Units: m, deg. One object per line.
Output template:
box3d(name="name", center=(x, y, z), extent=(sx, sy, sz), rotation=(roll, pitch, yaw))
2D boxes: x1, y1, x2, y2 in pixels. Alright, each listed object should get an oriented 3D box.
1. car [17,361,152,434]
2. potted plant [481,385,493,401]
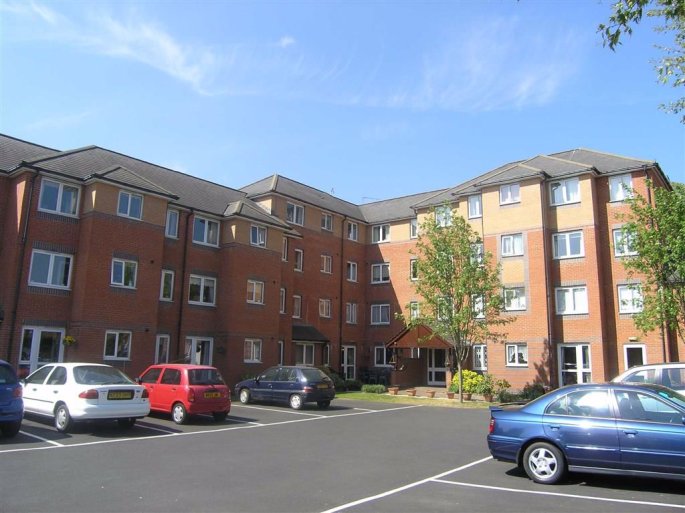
box3d(name="car", center=(-7.938, 4.252, 16.249), extent=(3.547, 1.949, 1.649), rotation=(-1, -8, 21))
box3d(name="potted plant", center=(7.698, 7.226, 28.214), extent=(0.594, 0.594, 0.609), rotation=(3, -1, -5))
